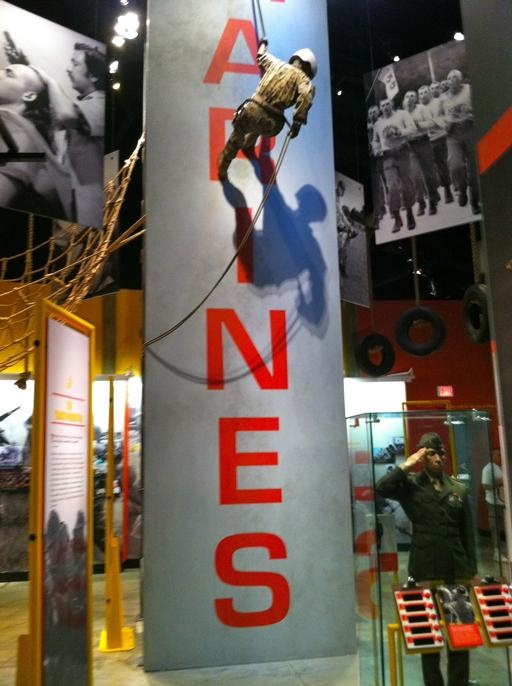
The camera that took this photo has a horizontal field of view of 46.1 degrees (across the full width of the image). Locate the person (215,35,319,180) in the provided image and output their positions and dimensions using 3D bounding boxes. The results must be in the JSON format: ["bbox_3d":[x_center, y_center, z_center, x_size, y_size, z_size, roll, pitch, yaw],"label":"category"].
[{"bbox_3d":[0.039,-1.354,3.684,0.866,0.510,0.259,-52,-22,26],"label":"person"}]

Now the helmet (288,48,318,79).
[{"bbox_3d":[0.307,-1.708,3.721,0.150,0.193,0.140,-41,-60,15],"label":"helmet"}]

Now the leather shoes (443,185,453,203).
[{"bbox_3d":[1.761,-1.354,5.522,0.071,0.130,0.088,-8,-13,22],"label":"leather shoes"}]

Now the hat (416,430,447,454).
[{"bbox_3d":[0.788,0.452,2.706,0.075,0.069,0.111,3,-10,2],"label":"hat"}]

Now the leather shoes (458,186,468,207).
[{"bbox_3d":[1.862,-1.319,5.432,0.078,0.149,0.056,10,15,37],"label":"leather shoes"}]
